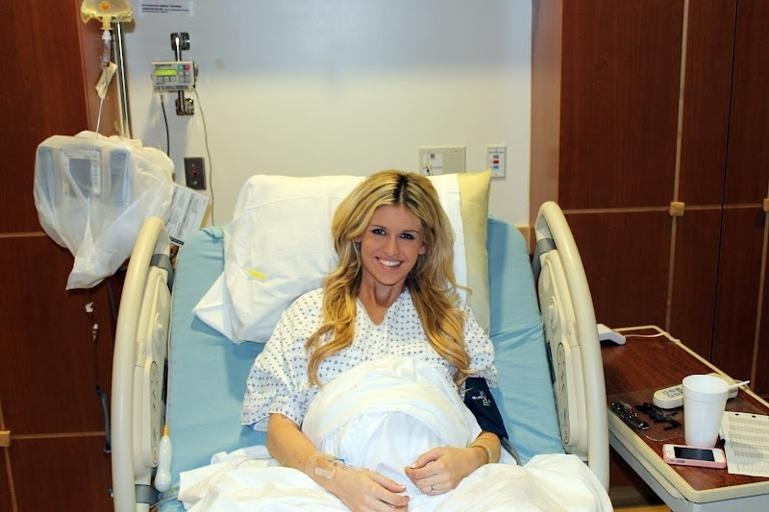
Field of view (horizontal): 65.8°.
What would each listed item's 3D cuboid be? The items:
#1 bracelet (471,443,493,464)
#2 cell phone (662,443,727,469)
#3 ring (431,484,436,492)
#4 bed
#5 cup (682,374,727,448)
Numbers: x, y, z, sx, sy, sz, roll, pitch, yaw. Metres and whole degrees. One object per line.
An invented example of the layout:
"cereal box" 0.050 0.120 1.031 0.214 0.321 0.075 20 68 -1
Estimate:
"bracelet" 0.386 0.767 2.307 0.057 0.077 0.035 -11 -7 30
"cell phone" 1.167 0.756 2.235 0.174 0.028 0.096 1 30 9
"ring" 0.177 0.849 2.156 0.015 0.024 0.022 0 22 1
"bed" -0.031 0.527 2.479 1.569 1.120 1.157 -3 21 -6
"cup" 1.217 0.617 2.288 0.147 0.239 0.151 1 8 0
